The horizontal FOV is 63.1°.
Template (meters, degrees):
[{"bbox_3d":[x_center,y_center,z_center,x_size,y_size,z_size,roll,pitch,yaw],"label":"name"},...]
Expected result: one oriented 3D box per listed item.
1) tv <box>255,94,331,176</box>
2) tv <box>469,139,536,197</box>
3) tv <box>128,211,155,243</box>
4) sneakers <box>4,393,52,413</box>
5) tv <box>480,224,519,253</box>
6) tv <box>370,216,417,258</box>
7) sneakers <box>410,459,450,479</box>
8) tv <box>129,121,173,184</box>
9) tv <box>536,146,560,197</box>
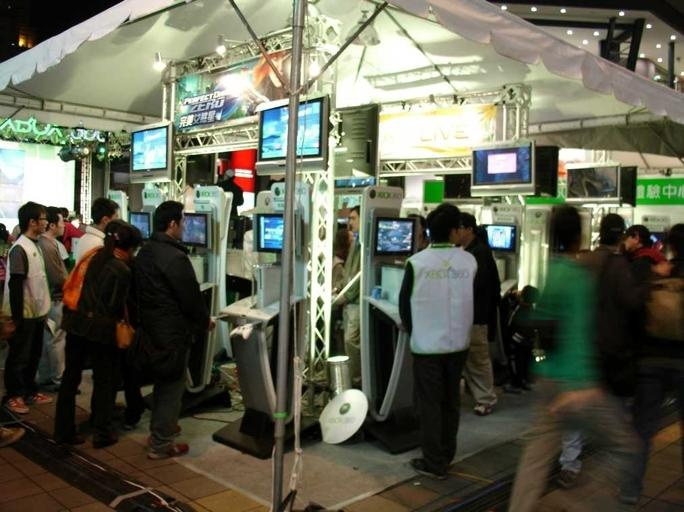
[{"bbox_3d":[-0.433,-1.083,5.059,0.165,0.809,1.089,-2,4,-43],"label":"tv"},{"bbox_3d":[2.236,-1.206,7.668,0.800,0.654,0.154,3,2,39],"label":"tv"},{"bbox_3d":[-2.348,-0.334,6.542,0.368,0.406,0.041,-19,-4,38],"label":"tv"},{"bbox_3d":[-3.088,1.443,5.503,0.382,0.153,0.128,-4,8,-32],"label":"sneakers"},{"bbox_3d":[2.279,-0.240,7.968,0.365,0.518,0.716,1,2,-28],"label":"tv"},{"bbox_3d":[0.498,-0.154,5.559,0.614,0.517,0.328,1,-1,-24],"label":"tv"},{"bbox_3d":[0.704,1.672,4.445,0.110,0.139,0.301,-3,9,-41],"label":"sneakers"},{"bbox_3d":[-2.711,-1.451,7.938,1.018,0.998,0.139,-1,-2,38],"label":"tv"},{"bbox_3d":[2.927,-1.238,8.142,0.284,0.725,0.578,7,10,43],"label":"tv"}]
